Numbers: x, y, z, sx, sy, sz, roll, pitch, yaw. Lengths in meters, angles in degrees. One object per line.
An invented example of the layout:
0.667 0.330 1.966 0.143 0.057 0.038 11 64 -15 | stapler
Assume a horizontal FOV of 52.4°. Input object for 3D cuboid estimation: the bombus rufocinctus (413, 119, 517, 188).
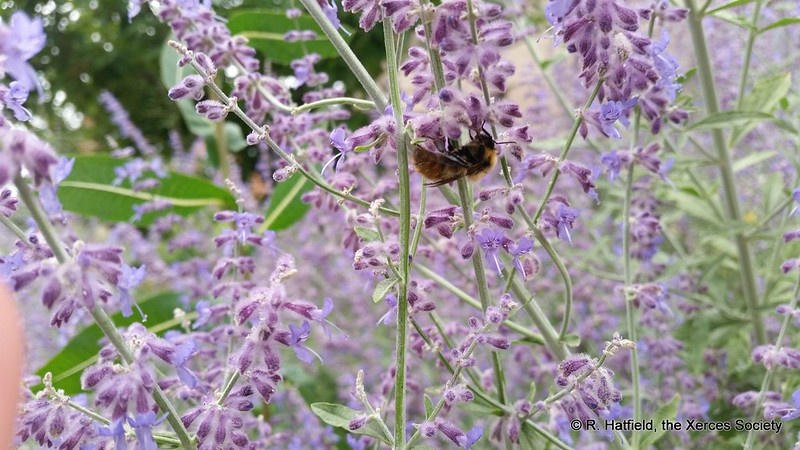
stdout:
0.292 -0.303 3.693 0.391 0.263 0.122 -21 72 -27 | bombus rufocinctus
